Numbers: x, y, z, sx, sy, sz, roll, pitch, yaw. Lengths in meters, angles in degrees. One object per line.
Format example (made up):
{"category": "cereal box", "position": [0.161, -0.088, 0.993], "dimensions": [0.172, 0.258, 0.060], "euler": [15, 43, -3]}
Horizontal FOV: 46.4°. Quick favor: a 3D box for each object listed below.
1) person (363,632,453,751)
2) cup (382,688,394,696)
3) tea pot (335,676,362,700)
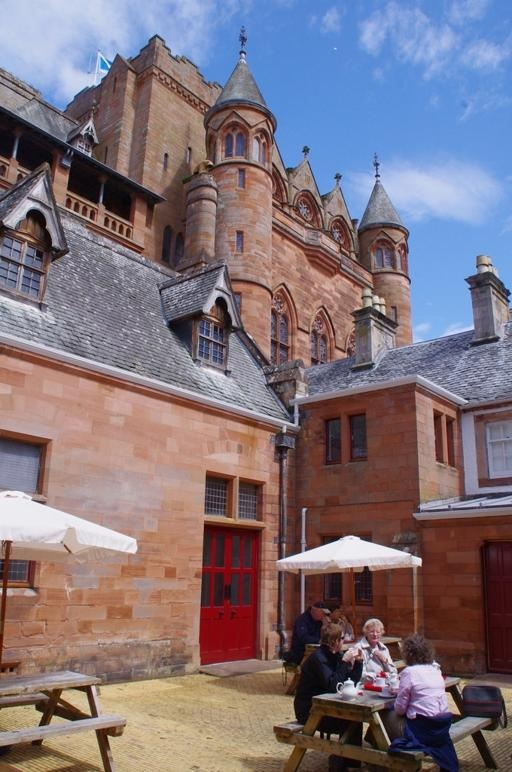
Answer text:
{"category": "person", "position": [1.250, 2.388, 4.679], "dimensions": [0.433, 0.838, 0.711], "euler": [-2, -17, 10]}
{"category": "cup", "position": [1.117, 2.592, 5.073], "dimensions": [0.088, 0.062, 0.066], "euler": [7, -14, -20]}
{"category": "tea pot", "position": [0.749, 2.496, 4.963], "dimensions": [0.288, 0.212, 0.197], "euler": [4, -30, -1]}
